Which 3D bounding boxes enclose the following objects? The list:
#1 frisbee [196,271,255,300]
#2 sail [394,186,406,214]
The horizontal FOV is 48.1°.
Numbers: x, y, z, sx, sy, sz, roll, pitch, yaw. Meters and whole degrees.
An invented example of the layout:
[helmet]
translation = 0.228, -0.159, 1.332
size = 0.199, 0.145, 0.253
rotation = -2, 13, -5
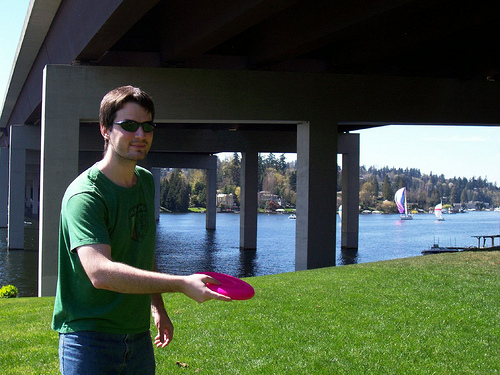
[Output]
[frisbee]
translation = -0.285, 1.118, 6.414
size = 0.610, 0.290, 0.507
rotation = 1, -1, 1
[sail]
translation = 24.536, 2.122, 91.706
size = 1.402, 4.133, 5.579
rotation = 0, -2, 16
